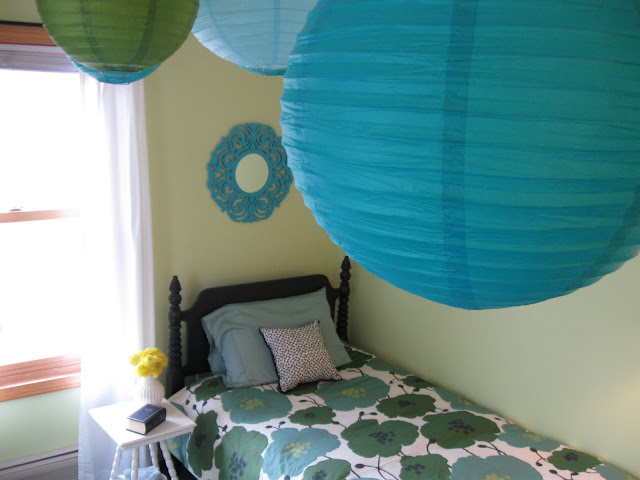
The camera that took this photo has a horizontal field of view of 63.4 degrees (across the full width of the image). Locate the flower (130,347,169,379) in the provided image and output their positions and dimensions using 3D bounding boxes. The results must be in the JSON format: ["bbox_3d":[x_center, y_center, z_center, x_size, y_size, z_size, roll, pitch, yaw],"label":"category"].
[{"bbox_3d":[-0.950,0.664,2.959,0.193,0.173,0.184,-8,10,-43],"label":"flower"}]

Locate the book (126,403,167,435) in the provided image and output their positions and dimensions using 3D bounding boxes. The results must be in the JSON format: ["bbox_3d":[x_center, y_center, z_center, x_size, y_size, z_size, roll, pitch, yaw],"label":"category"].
[{"bbox_3d":[-0.914,0.951,2.760,0.115,0.049,0.146,9,14,25],"label":"book"}]

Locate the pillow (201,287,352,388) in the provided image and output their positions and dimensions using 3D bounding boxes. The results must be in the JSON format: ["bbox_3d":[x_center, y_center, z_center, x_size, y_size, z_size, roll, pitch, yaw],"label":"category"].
[{"bbox_3d":[-0.412,0.630,3.345,0.777,0.558,0.215,-5,-24,-37],"label":"pillow"}]

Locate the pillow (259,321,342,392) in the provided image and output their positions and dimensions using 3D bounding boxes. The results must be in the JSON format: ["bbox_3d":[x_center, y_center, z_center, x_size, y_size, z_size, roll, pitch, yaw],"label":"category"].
[{"bbox_3d":[-0.130,0.727,3.283,0.438,0.386,0.134,-7,-25,-42],"label":"pillow"}]
